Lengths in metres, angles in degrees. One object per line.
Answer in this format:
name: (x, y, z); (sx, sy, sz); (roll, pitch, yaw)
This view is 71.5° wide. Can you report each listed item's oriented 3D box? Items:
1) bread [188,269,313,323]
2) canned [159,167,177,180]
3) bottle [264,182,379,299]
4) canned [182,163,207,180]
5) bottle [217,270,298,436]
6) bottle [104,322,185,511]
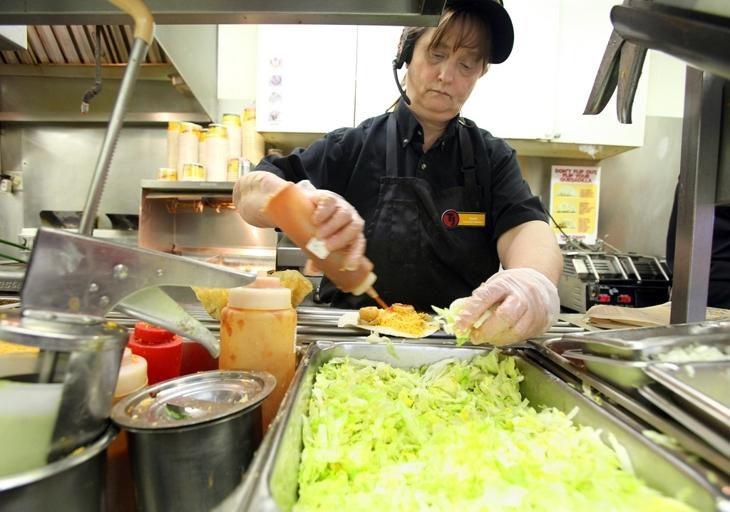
bread: (-0.396, 0.125, 1.798); (0.245, 0.093, 0.243); (-7, 1, -40)
canned: (-1.228, -0.506, 3.166); (0.085, 0.060, 0.083); (0, -2, 4)
bottle: (-0.130, -0.048, 1.412); (0.284, 0.300, 0.085); (0, 1, -13)
canned: (-1.052, -0.518, 3.171); (0.117, 0.102, 0.119); (3, 6, 21)
bottle: (-0.281, 0.261, 1.341); (0.194, 0.357, 0.094); (0, 1, -13)
bottle: (-0.571, 0.398, 1.343); (0.166, 0.429, 0.289); (0, 2, -18)
